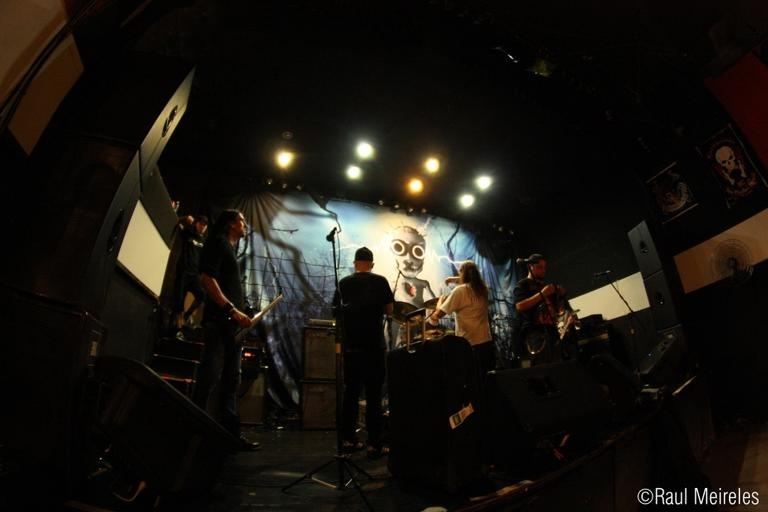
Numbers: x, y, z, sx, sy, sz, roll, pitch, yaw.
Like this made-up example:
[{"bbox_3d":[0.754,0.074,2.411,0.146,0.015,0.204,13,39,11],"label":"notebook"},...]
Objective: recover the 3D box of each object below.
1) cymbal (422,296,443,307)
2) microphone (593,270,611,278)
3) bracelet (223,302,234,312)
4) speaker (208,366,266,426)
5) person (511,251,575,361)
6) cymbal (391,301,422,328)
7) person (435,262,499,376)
[{"bbox_3d":[0.558,0.547,6.042,0.169,0.037,0.170,-24,-24,31],"label":"cymbal"},{"bbox_3d":[3.131,0.274,7.501,0.323,0.122,0.112,-3,-3,-31],"label":"microphone"},{"bbox_3d":[-1.244,0.412,4.161,0.095,0.054,0.071,-1,7,-6],"label":"bracelet"},{"bbox_3d":[-1.610,1.575,5.941,0.654,0.645,0.491,1,-15,-7],"label":"speaker"},{"bbox_3d":[1.651,0.564,5.513,0.527,1.249,0.523,-10,-37,16],"label":"person"},{"bbox_3d":[0.135,0.592,5.130,0.309,0.075,0.305,31,-40,-34],"label":"cymbal"},{"bbox_3d":[0.733,0.543,4.918,0.619,1.027,0.351,5,-35,-5],"label":"person"}]
